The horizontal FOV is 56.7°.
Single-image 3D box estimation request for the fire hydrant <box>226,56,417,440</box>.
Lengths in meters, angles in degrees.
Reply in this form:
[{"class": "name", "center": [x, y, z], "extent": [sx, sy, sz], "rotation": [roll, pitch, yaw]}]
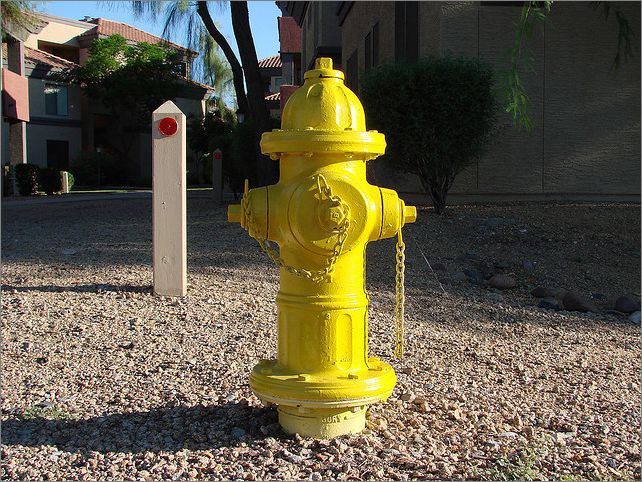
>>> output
[{"class": "fire hydrant", "center": [0.021, 0.069, 3.682], "extent": [1.091, 2.320, 0.645], "rotation": [-1, 13, -9]}]
